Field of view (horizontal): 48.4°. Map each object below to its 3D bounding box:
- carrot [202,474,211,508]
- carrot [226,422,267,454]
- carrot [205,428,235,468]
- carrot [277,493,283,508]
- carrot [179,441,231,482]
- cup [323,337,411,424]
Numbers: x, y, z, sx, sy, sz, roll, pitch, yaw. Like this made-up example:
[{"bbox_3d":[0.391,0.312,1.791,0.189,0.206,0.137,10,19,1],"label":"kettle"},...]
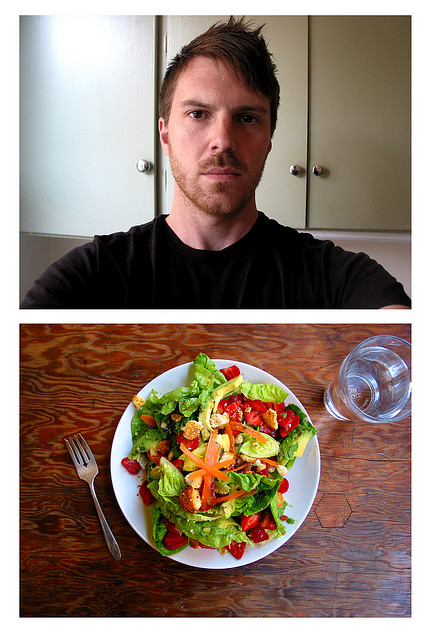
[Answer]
[{"bbox_3d":[-0.012,0.242,0.677,0.012,0.041,0.015,2,6,2],"label":"carrot"},{"bbox_3d":[0.041,0.168,0.710,0.038,0.055,0.014,-40,-12,14],"label":"carrot"},{"bbox_3d":[0.007,0.184,0.715,0.014,0.059,0.061,16,-25,15],"label":"carrot"},{"bbox_3d":[0.095,0.269,0.713,0.013,0.020,0.004,0,10,-26],"label":"carrot"},{"bbox_3d":[-0.016,0.202,0.708,0.115,0.019,0.021,26,-50,-39],"label":"carrot"},{"bbox_3d":[0.272,0.105,0.805,0.110,0.140,0.123,1,-19,22],"label":"cup"}]
